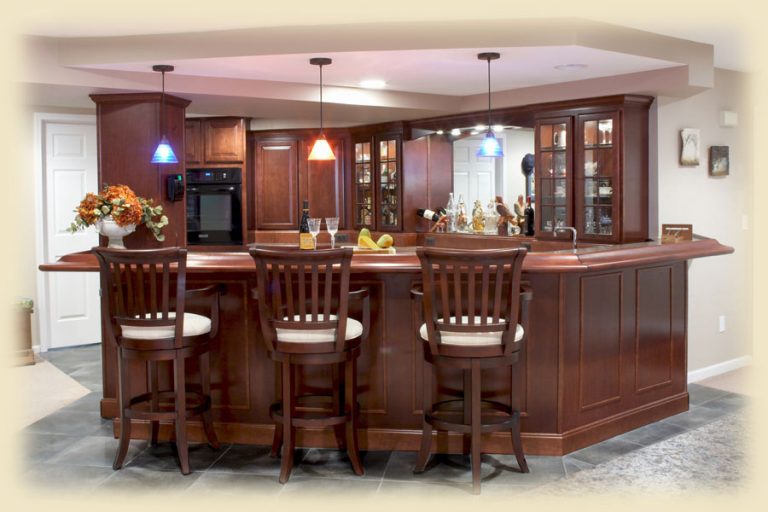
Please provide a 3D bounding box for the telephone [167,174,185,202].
[{"bbox_3d":[-2.069,-0.673,6.055,0.077,0.275,0.208,8,15,34],"label":"telephone"}]

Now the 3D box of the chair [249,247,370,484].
[{"bbox_3d":[-0.510,0.714,4.413,0.799,1.650,0.696,-1,12,-2],"label":"chair"}]

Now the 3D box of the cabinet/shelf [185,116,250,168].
[{"bbox_3d":[-2.066,-1.382,7.894,1.095,0.796,0.554,1,1,1],"label":"cabinet/shelf"}]

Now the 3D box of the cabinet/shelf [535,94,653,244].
[{"bbox_3d":[2.071,-0.847,6.054,1.126,1.415,0.630,2,12,12],"label":"cabinet/shelf"}]

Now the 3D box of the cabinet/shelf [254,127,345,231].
[{"bbox_3d":[-1.040,-1.006,7.788,1.690,1.431,0.552,1,0,1],"label":"cabinet/shelf"}]

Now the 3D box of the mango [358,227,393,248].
[{"bbox_3d":[-0.071,-0.124,5.461,0.296,0.113,0.274,5,4,-9],"label":"mango"}]

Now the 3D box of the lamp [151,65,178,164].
[{"bbox_3d":[-2.067,-1.292,5.688,0.246,0.886,0.567,-5,13,-19],"label":"lamp"}]

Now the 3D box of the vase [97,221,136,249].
[{"bbox_3d":[-2.376,-0.203,5.464,0.359,0.228,0.333,1,-1,-1],"label":"vase"}]

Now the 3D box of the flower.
[{"bbox_3d":[-2.377,-0.398,5.495,0.760,0.482,0.725,-2,6,-22],"label":"flower"}]

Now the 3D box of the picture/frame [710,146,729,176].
[{"bbox_3d":[3.457,-0.986,6.308,0.345,0.310,0.037,-4,4,-37],"label":"picture/frame"}]

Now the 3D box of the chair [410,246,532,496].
[{"bbox_3d":[0.644,0.720,4.308,0.810,1.647,0.750,3,13,16],"label":"chair"}]
